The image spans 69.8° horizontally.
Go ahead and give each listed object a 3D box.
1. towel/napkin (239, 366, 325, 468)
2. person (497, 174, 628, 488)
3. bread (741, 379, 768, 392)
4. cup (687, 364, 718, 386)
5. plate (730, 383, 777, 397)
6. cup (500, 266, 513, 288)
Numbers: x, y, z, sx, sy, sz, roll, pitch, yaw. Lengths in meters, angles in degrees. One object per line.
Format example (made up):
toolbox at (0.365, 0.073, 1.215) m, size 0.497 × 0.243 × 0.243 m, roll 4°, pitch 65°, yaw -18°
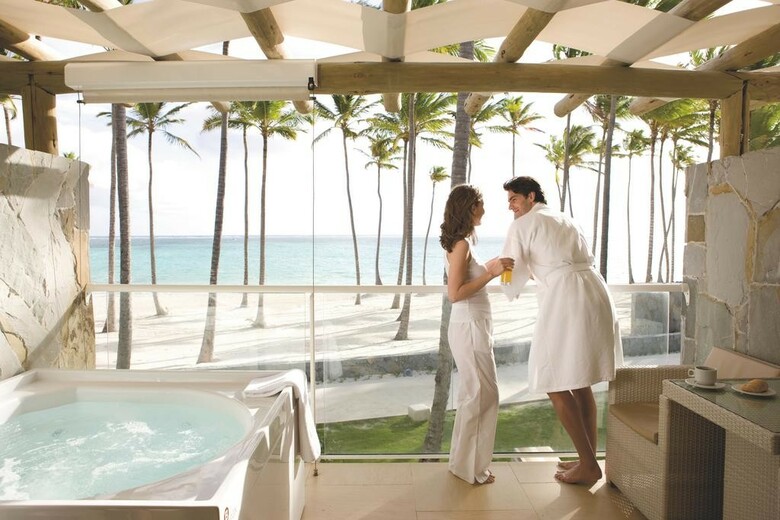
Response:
towel/napkin at (-0.838, 1.062, 3.905) m, size 0.350 × 0.518 × 0.579 m, roll -4°, pitch -1°, yaw -18°
person at (1.205, 0.502, 4.000) m, size 0.768 × 2.210 × 0.369 m, roll 0°, pitch 5°, yaw 18°
bread at (2.115, 0.722, 3.260) m, size 0.094 × 0.028 × 0.088 m, roll 1°, pitch 4°, yaw 36°
cup at (1.886, 0.696, 3.395) m, size 0.156 × 0.095 × 0.116 m, roll -3°, pitch -1°, yaw 36°
plate at (2.124, 0.741, 3.271) m, size 0.221 × 0.074 × 0.195 m, roll 2°, pitch 5°, yaw 33°
cup at (0.826, 0.121, 3.951) m, size 0.062 × 0.116 × 0.120 m, roll 3°, pitch 6°, yaw 39°
